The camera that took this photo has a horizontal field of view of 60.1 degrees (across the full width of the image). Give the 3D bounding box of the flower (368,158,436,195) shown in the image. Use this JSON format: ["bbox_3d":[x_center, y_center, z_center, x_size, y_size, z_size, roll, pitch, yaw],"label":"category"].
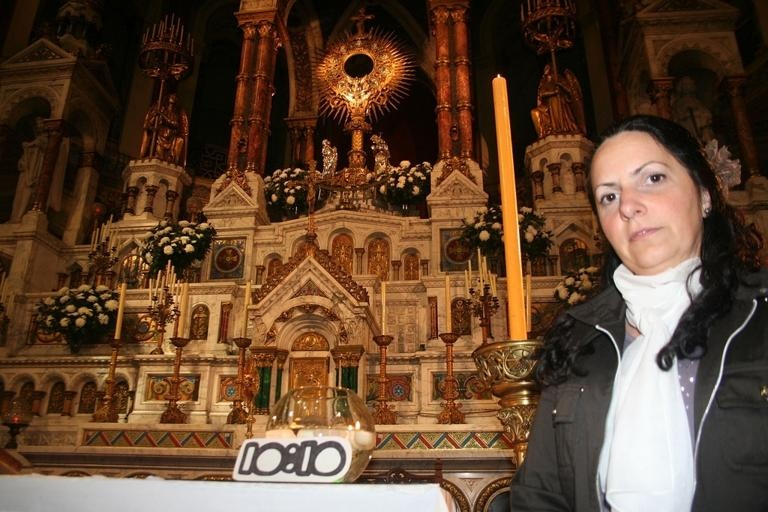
[{"bbox_3d":[0.366,-1.250,10.684,0.726,0.379,0.704,-11,10,-29],"label":"flower"}]

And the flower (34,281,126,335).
[{"bbox_3d":[-3.993,0.681,8.534,1.123,0.752,0.628,-2,-20,7],"label":"flower"}]

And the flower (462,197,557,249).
[{"bbox_3d":[1.602,-0.391,8.861,0.862,0.461,0.828,3,0,-2],"label":"flower"}]

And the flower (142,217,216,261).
[{"bbox_3d":[-2.657,-0.199,8.585,0.866,0.777,0.720,5,-21,-14],"label":"flower"}]

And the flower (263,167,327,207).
[{"bbox_3d":[-1.587,-1.135,11.009,0.799,0.429,0.765,-3,8,-7],"label":"flower"}]
